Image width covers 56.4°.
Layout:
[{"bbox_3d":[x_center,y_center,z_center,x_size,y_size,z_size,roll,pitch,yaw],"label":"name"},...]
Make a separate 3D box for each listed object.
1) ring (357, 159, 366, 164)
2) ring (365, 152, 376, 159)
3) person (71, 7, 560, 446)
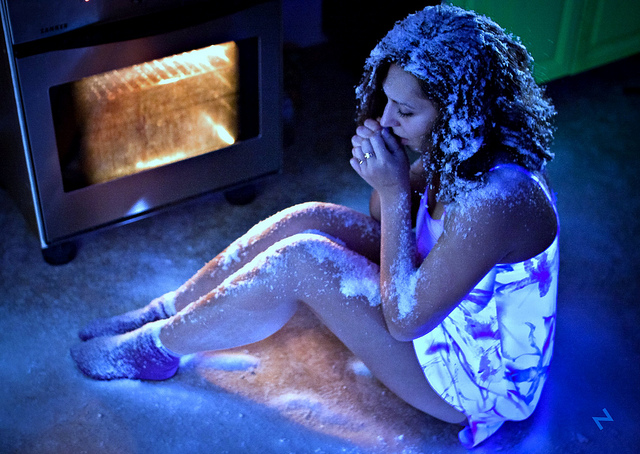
[{"bbox_3d":[0.095,-0.148,1.367,0.013,0.013,0.004,4,72,-24],"label":"ring"},{"bbox_3d":[0.113,-0.159,1.345,0.021,0.013,0.014,-5,46,-10],"label":"ring"},{"bbox_3d":[0.196,-0.213,1.686,1.352,1.161,0.769,5,31,4],"label":"person"}]
